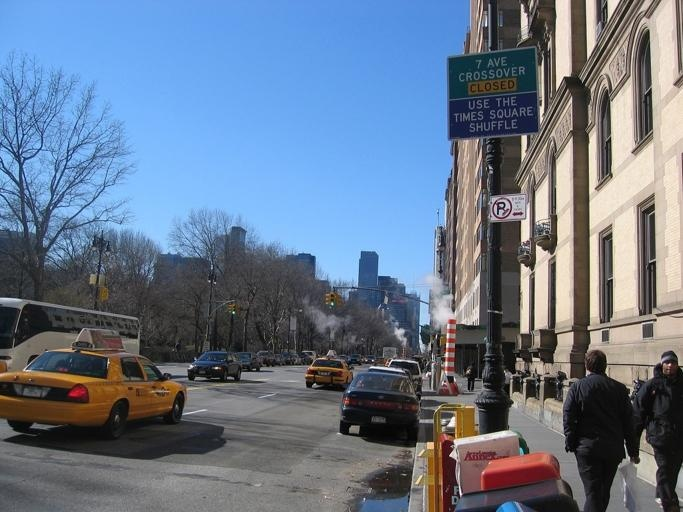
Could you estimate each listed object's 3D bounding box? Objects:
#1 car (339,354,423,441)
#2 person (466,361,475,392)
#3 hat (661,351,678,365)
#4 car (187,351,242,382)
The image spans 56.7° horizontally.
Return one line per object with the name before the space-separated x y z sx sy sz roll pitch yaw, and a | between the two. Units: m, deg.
car | 0.955 3.910 16.603 1.988 1.789 1.833 3 -10 -10
person | 6.779 6.350 32.991 0.340 1.425 1.733 0 -10 9
hat | 4.732 1.476 9.100 0.150 0.189 0.228 3 -27 16
car | -6.510 5.750 33.501 1.260 1.098 3.092 -2 -16 6
